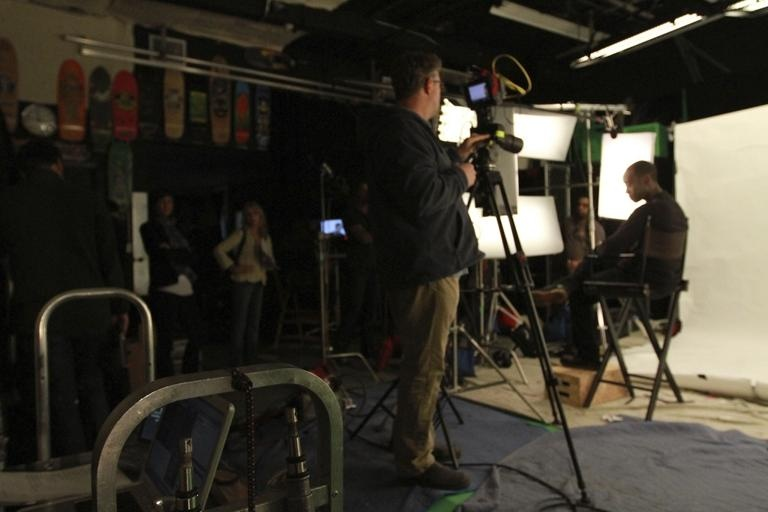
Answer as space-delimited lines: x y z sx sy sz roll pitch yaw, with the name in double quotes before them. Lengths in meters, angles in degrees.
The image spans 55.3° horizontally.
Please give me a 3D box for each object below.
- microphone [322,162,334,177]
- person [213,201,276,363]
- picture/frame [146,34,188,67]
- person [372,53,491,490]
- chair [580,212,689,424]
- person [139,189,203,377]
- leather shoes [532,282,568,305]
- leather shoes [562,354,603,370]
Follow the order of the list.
"microphone" -0.590 -0.913 7.865 0.119 0.174 0.239 -2 1 -6
"person" -1.561 0.290 8.276 0.644 1.761 0.213 -2 2 -15
"picture/frame" -2.193 -2.006 7.461 0.231 0.313 0.446 9 11 35
"person" 0.329 0.323 5.668 0.830 2.988 0.338 -2 2 -3
"chair" 2.491 0.527 7.167 0.793 1.843 0.919 2 -1 -21
"person" -2.166 0.285 7.636 0.340 1.880 0.581 0 2 40
"leather shoes" 1.940 0.458 8.597 0.247 0.172 0.435 -9 0 -42
"leather shoes" 2.208 1.200 8.249 0.467 0.184 0.162 -6 -7 26
